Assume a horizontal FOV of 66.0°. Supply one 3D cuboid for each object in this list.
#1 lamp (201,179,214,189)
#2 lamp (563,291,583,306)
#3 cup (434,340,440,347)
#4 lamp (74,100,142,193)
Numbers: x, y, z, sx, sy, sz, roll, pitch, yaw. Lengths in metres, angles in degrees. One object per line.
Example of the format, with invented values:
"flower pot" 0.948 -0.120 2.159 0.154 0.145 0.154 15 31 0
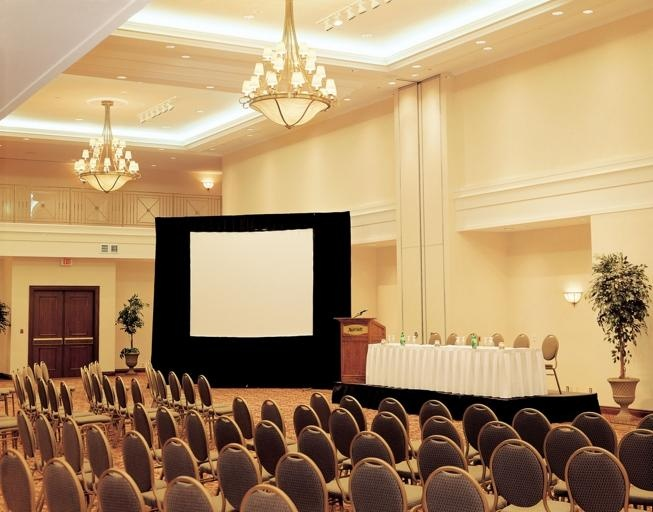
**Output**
"lamp" -4.960 -3.015 21.018 0.364 0.450 0.373 5 -7 -34
"lamp" 5.083 0.869 10.359 0.264 0.237 0.293 -1 -5 36
"cup" 1.949 1.522 8.807 0.076 0.158 0.081 -1 -2 0
"lamp" -5.874 -2.969 13.500 1.535 2.527 1.522 6 7 43
